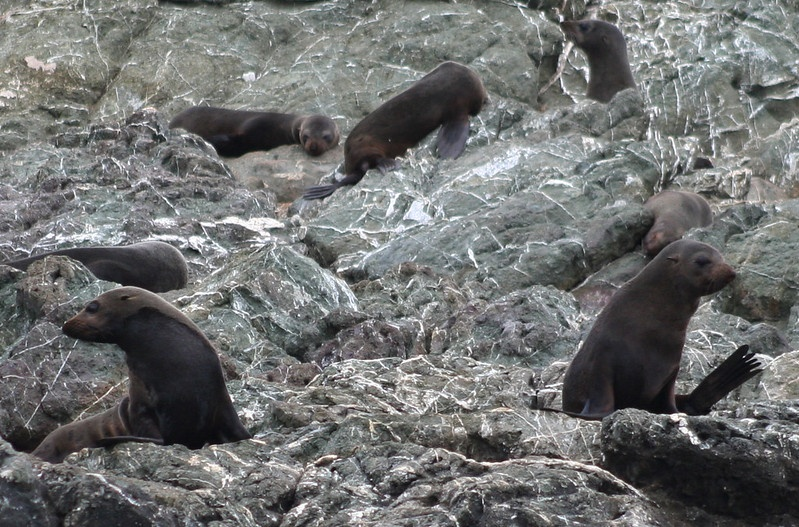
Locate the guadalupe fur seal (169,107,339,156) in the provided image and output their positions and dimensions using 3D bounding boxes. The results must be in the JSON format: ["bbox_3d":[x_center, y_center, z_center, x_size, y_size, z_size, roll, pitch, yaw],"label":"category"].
[{"bbox_3d":[-2.393,-2.115,21.635,2.796,0.763,1.533,12,8,5],"label":"guadalupe fur seal"}]

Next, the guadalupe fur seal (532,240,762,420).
[{"bbox_3d":[2.523,0.683,13.657,1.658,1.711,0.873,2,19,-8],"label":"guadalupe fur seal"}]

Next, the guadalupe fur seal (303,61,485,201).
[{"bbox_3d":[0.071,-1.896,18.803,2.512,0.973,1.623,-22,37,3],"label":"guadalupe fur seal"}]

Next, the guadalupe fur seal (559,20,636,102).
[{"bbox_3d":[2.976,-2.954,20.076,0.630,1.079,1.193,-7,21,-31],"label":"guadalupe fur seal"}]
